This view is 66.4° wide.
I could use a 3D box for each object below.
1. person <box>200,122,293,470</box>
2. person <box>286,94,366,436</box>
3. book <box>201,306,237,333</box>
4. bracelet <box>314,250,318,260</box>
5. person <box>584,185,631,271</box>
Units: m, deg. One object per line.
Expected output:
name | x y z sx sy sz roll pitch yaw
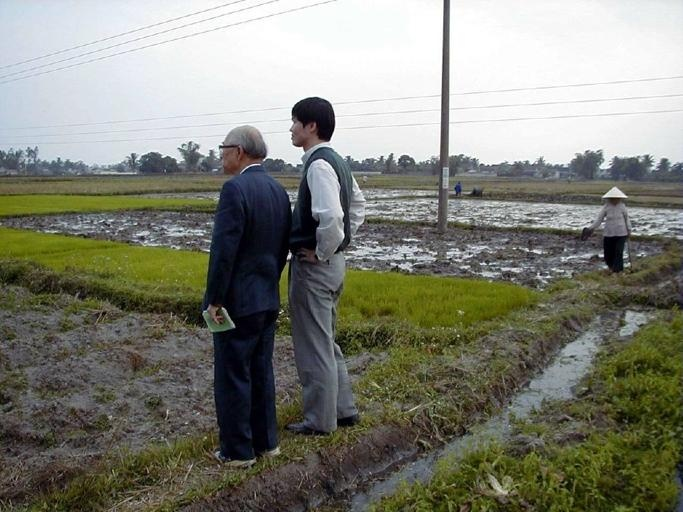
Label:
person | -0.919 0.377 5.059 0.838 3.233 0.586 -3 8 -22
person | -0.195 0.142 5.402 0.711 3.462 0.746 2 8 15
book | -1.121 0.601 4.824 0.296 0.278 0.126 2 8 12
bracelet | -0.246 -0.008 5.119 0.016 0.055 0.055 -31 6 -16
person | 6.704 -0.634 12.875 0.696 2.028 0.622 6 10 37
